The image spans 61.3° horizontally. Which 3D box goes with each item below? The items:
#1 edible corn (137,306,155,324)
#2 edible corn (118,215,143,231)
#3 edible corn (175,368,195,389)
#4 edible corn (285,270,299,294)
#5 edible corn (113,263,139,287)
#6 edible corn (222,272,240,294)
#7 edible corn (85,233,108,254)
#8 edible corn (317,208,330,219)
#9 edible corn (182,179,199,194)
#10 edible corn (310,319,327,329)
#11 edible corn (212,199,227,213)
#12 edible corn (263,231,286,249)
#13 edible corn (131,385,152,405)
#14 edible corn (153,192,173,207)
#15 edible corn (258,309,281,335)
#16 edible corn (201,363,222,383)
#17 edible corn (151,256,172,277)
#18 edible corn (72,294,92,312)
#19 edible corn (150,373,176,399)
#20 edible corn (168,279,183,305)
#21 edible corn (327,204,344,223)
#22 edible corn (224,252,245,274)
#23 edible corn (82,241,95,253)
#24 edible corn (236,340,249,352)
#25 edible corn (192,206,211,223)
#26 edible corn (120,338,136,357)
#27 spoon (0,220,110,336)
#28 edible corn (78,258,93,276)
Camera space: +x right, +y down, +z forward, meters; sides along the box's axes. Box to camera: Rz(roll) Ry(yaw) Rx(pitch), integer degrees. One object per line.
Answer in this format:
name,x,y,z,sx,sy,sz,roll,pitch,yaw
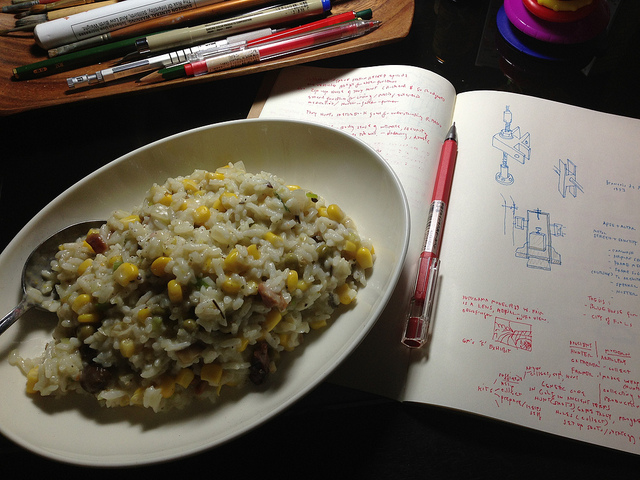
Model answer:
edible corn,-0.431,0.184,1.337,0.029,0.017,0.038,39,78,-4
edible corn,-0.504,-0.054,1.437,0.043,0.039,0.040,-8,105,15
edible corn,-0.336,0.338,1.343,0.043,0.037,0.038,-44,96,-8
edible corn,-0.071,0.103,1.365,0.025,0.030,0.051,21,67,-10
edible corn,-0.490,0.087,1.359,0.027,0.043,0.025,44,36,-16
edible corn,-0.223,0.100,1.350,0.038,0.023,0.044,-3,56,-40
edible corn,-0.593,0.010,1.432,0.024,0.032,0.045,-36,71,-5
edible corn,0.007,-0.077,1.472,0.024,0.009,0.028,2,69,-5
edible corn,-0.362,-0.149,1.490,0.031,0.015,0.042,-3,45,-16
edible corn,-0.005,0.217,1.407,0.027,0.008,0.023,8,107,-9
edible corn,-0.270,-0.091,1.451,0.013,0.035,0.031,-36,75,-5
edible corn,-0.119,0.000,1.407,0.051,0.016,0.035,38,71,10
edible corn,-0.448,0.383,1.333,0.032,0.015,0.046,29,80,-15
edible corn,-0.425,-0.106,1.447,0.035,0.027,0.039,-11,80,9
edible corn,-0.124,0.203,1.361,0.063,0.013,0.047,-46,70,5
edible corn,-0.270,0.326,1.340,0.050,0.009,0.042,18,68,5
edible corn,-0.399,0.065,1.364,0.055,0.042,0.036,0,67,-2
edible corn,-0.602,0.154,1.364,0.013,0.039,0.040,35,35,2
edible corn,-0.387,0.353,1.344,0.065,0.023,0.050,34,70,11
edible corn,-0.356,0.126,1.338,0.030,0.025,0.058,-13,99,-2
edible corn,0.038,-0.072,1.453,0.043,0.023,0.033,41,83,-9
edible corn,-0.218,0.059,1.355,0.033,0.047,0.056,-11,101,12
edible corn,-0.618,0.015,1.438,0.020,0.027,0.030,27,65,-44
edible corn,-0.192,0.262,1.341,0.019,0.007,0.032,25,86,-16
edible corn,-0.309,-0.063,1.443,0.033,0.044,0.044,30,104,25
edible corn,-0.474,0.263,1.333,0.029,0.042,0.044,-5,62,-5
spoon,-0.722,0.055,1.496,0.126,0.054,0.428,31,72,-8
edible corn,-0.611,0.066,1.404,0.014,0.034,0.036,36,38,-28
